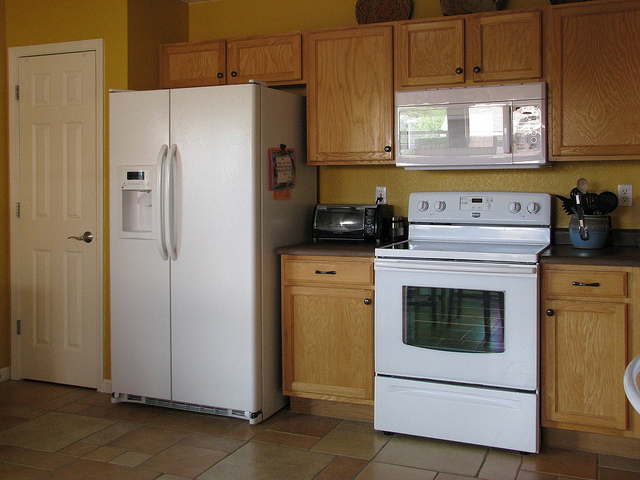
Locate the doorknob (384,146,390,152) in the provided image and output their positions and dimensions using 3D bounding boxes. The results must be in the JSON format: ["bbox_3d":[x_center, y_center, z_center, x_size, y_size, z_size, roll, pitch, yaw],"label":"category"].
[{"bbox_3d":[0.443,-0.594,3.479,0.028,0.032,0.028,6,-16,43],"label":"doorknob"}]

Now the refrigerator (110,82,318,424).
[{"bbox_3d":[-0.802,0.080,3.512,1.281,2.128,0.538,-1,5,6],"label":"refrigerator"}]

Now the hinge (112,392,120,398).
[{"bbox_3d":[-1.397,1.063,3.621,0.040,0.038,0.068,11,-8,-11],"label":"hinge"}]

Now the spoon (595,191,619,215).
[{"bbox_3d":[1.702,-0.215,3.143,0.083,0.133,0.138,4,8,45],"label":"spoon"}]

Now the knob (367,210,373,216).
[{"bbox_3d":[0.342,-0.182,3.594,0.036,0.033,0.011,1,6,21],"label":"knob"}]

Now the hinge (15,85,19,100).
[{"bbox_3d":[-2.304,-1.120,4.028,0.031,0.109,0.013,-4,6,-28],"label":"hinge"}]

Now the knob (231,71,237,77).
[{"bbox_3d":[-0.615,-1.183,3.781,0.032,0.031,0.018,16,-1,8],"label":"knob"}]

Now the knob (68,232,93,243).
[{"bbox_3d":[-1.746,-0.014,3.888,0.185,0.074,0.033,2,6,24],"label":"knob"}]

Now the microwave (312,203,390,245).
[{"bbox_3d":[0.206,-0.102,3.642,0.434,0.266,0.307,0,-4,16],"label":"microwave"}]

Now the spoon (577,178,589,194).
[{"bbox_3d":[1.581,-0.316,3.181,0.025,0.086,0.069,1,-9,-40],"label":"spoon"}]

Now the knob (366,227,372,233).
[{"bbox_3d":[0.335,-0.065,3.587,0.038,0.037,0.011,1,3,24],"label":"knob"}]

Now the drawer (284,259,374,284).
[{"bbox_3d":[0.074,0.175,3.351,0.459,0.142,0.411,3,8,30],"label":"drawer"}]

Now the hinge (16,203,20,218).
[{"bbox_3d":[-2.321,-0.224,4.071,0.027,0.110,0.009,-1,5,1],"label":"hinge"}]

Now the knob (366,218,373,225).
[{"bbox_3d":[0.337,-0.121,3.589,0.051,0.045,0.012,4,-1,19],"label":"knob"}]

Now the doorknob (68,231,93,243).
[{"bbox_3d":[-1.740,-0.015,3.838,0.073,0.063,0.125,9,2,32],"label":"doorknob"}]

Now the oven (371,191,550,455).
[{"bbox_3d":[0.899,0.421,3.256,0.935,1.376,0.721,2,9,30],"label":"oven"}]

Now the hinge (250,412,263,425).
[{"bbox_3d":[-0.399,1.122,3.315,0.054,0.081,0.081,0,-3,33],"label":"hinge"}]

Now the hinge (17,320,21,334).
[{"bbox_3d":[-2.320,0.678,4.087,0.021,0.104,0.005,-1,5,2],"label":"hinge"}]
